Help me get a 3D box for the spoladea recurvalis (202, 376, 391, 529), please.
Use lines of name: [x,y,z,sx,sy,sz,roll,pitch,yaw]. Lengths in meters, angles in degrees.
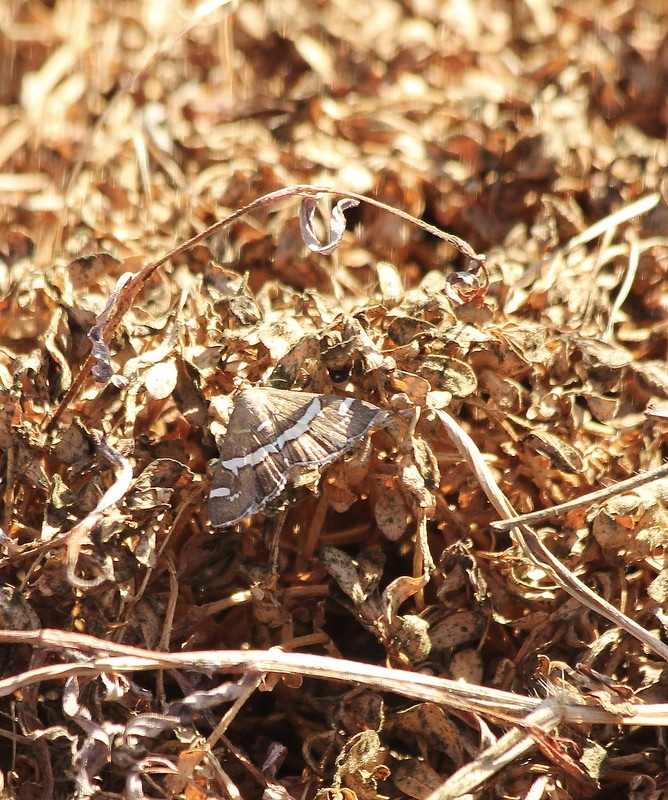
spoladea recurvalis: [-0.038,0.017,0.501,0.113,0.066,0.023,-34,26,-27]
